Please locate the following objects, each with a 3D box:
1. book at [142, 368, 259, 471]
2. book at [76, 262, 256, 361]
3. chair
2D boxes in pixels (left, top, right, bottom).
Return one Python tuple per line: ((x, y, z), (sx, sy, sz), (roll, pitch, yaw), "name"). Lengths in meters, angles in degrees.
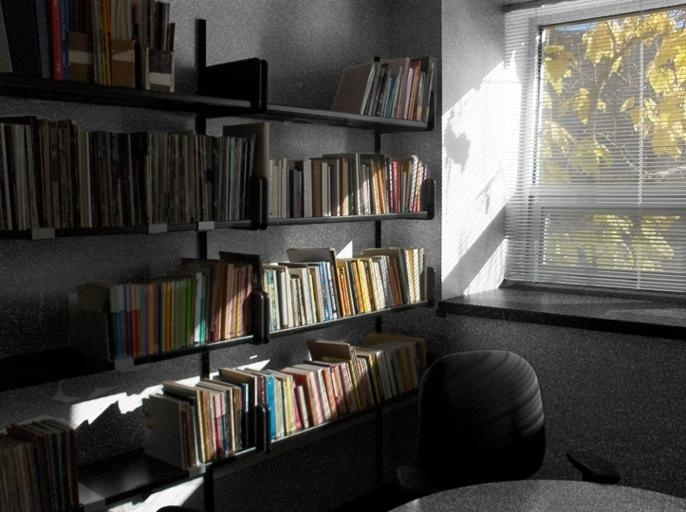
((-0.610, 0.557, 2.363), (0.493, 0.362, 0.289), (7, 9, 40), "book")
((-0.716, 0.197, 2.298), (0.678, 0.327, 0.320), (-10, 13, -42), "book")
((0.710, 0.675, 2.480), (0.613, 0.792, 0.653), (-3, 0, -19), "chair")
